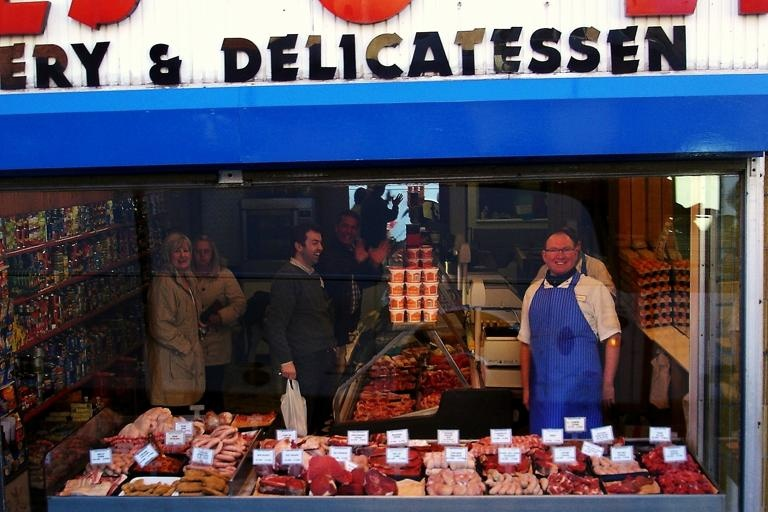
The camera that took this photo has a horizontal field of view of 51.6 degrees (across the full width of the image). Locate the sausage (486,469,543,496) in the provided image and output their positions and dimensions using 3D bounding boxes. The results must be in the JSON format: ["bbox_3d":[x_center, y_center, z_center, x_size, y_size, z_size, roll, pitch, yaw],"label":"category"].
[{"bbox_3d":[0.898,1.580,5.540,0.205,0.065,0.173,0,10,-16],"label":"sausage"}]

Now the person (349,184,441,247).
[{"bbox_3d":[0.205,-0.315,5.973,0.425,0.487,0.911,0,6,4],"label":"person"}]

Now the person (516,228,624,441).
[{"bbox_3d":[1.475,0.599,6.244,0.719,1.569,0.360,0,5,5],"label":"person"}]

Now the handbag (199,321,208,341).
[{"bbox_3d":[-1.673,0.684,7.350,0.106,0.151,0.054,-14,1,18],"label":"handbag"}]

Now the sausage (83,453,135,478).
[{"bbox_3d":[-1.971,1.531,5.828,0.185,0.059,0.186,1,14,-9],"label":"sausage"}]

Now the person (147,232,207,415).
[{"bbox_3d":[-1.873,0.556,7.110,0.499,1.521,0.298,-2,5,-17],"label":"person"}]

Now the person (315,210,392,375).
[{"bbox_3d":[-0.234,0.322,6.698,0.567,1.392,0.356,3,6,30],"label":"person"}]
